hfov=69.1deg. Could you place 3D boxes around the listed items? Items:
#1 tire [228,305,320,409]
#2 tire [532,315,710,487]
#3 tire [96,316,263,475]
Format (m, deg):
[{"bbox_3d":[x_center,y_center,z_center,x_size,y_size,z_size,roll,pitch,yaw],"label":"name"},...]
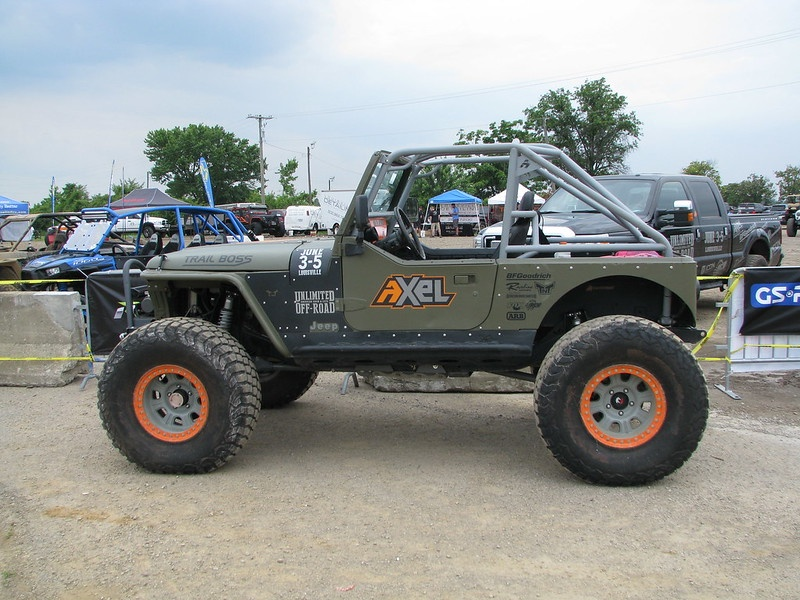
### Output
[{"bbox_3d":[-1.158,0.452,5.222,1.211,1.050,0.369,1,7,-4],"label":"tire"},{"bbox_3d":[1.725,0.784,4.492,1.469,1.272,0.494,0,-6,2],"label":"tire"},{"bbox_3d":[-1.819,0.801,4.838,1.450,1.204,0.423,1,-3,2],"label":"tire"}]
